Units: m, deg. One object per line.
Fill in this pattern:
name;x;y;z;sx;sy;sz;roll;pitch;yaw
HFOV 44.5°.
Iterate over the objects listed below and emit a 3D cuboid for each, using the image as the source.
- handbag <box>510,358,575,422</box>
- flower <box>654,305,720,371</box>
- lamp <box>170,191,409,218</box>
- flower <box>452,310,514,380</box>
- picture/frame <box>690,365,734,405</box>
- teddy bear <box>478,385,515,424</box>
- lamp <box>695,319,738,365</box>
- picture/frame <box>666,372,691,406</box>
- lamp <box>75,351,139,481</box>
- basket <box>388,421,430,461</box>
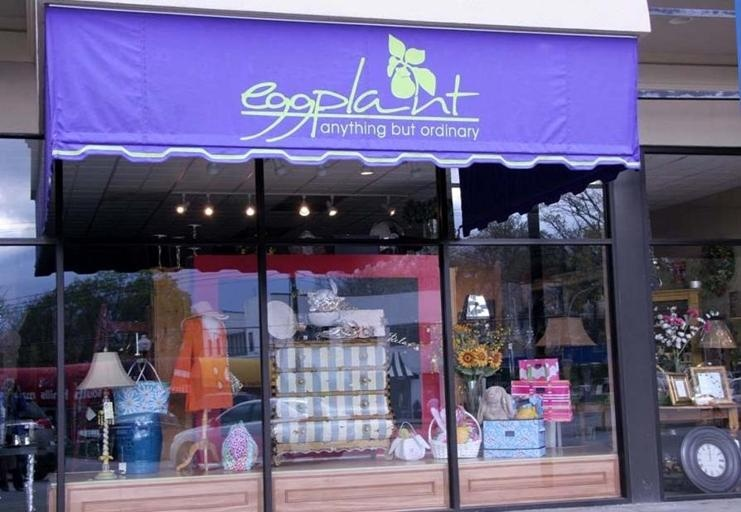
handbag;2.202;1.668;11.505;0.711;0.820;0.756;-1;-2;4
flower;4.093;1.024;11.760;0.675;0.909;0.797;-2;-1;14
lamp;-1.121;-0.629;11.042;2.762;0.449;0.247;0;-8;-8
flower;1.406;1.168;11.377;0.742;0.707;0.139;1;-9;-23
picture/frame;4.452;1.703;11.810;0.417;0.482;0.032;-3;-8;-16
teddy bear;1.588;1.891;11.459;0.433;0.492;0.324;-4;-29;11
lamp;4.576;1.096;12.031;0.462;0.656;0.453;1;0;-12
picture/frame;3.987;1.731;11.689;0.365;0.456;0.042;4;-18;-25
lamp;-3.078;1.819;10.507;0.501;1.365;0.601;3;0;-19
basket;0.456;2.305;11.133;0.500;0.587;0.449;0;9;-17
